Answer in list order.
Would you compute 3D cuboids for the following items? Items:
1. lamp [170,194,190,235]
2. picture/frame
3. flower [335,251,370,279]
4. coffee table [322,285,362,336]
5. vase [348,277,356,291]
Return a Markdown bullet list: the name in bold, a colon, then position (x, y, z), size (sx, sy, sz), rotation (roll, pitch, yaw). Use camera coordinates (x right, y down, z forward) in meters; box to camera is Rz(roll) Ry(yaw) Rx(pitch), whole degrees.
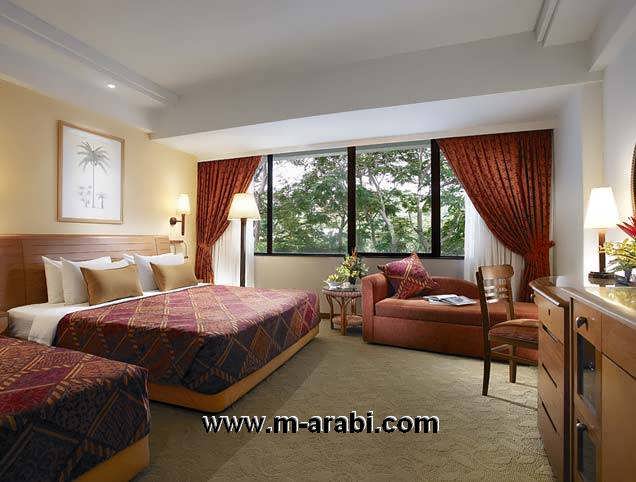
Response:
- **lamp**: position (-2.131, -0.378, 6.004), size (0.298, 0.706, 0.553), rotation (-3, 12, -18)
- **picture/frame**: position (-2.753, -0.807, 4.657), size (0.179, 1.192, 0.869), rotation (4, 12, 17)
- **flower**: position (0.456, 0.339, 5.230), size (0.374, 0.437, 0.377), rotation (1, -5, -14)
- **coffee table**: position (0.347, 0.934, 5.194), size (0.552, 0.485, 0.549), rotation (1, -7, -15)
- **vase**: position (0.442, 0.544, 4.979), size (0.099, 0.144, 0.183), rotation (1, 12, 1)
